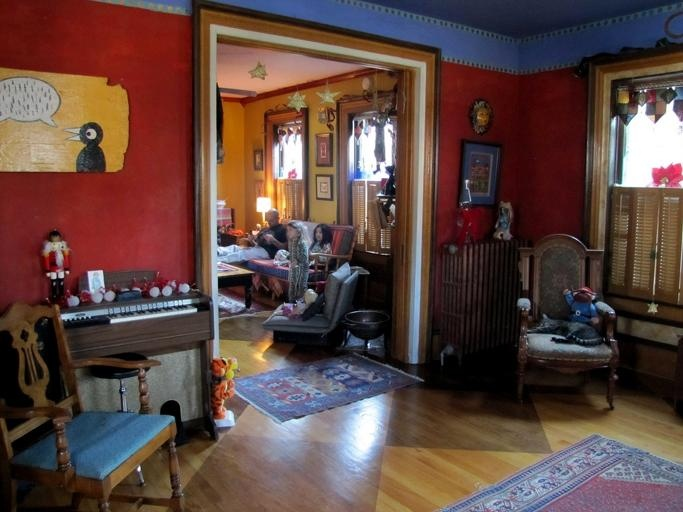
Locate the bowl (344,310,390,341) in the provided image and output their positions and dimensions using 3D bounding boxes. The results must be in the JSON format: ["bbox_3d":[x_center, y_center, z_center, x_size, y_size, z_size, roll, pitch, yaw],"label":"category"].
[{"bbox_3d":[0.265,0.782,5.854,0.511,0.244,0.487,0,13,0],"label":"bowl"}]

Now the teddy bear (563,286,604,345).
[{"bbox_3d":[2.208,0.560,4.831,0.308,0.492,0.304,24,-27,-27],"label":"teddy bear"}]

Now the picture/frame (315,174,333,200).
[{"bbox_3d":[-0.289,-1.147,8.674,0.046,0.435,0.440,-4,8,-40],"label":"picture/frame"}]

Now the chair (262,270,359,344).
[{"bbox_3d":[-0.308,0.619,6.063,0.628,0.885,0.932,11,2,2],"label":"chair"}]

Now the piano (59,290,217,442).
[{"bbox_3d":[-1.474,0.746,3.717,1.030,0.980,0.490,-8,22,-25],"label":"piano"}]

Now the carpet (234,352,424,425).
[{"bbox_3d":[-0.207,1.231,5.128,1.583,0.027,1.043,-8,15,-30],"label":"carpet"}]

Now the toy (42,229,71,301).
[{"bbox_3d":[-2.011,0.072,3.728,0.178,0.491,0.162,-8,15,-31],"label":"toy"}]

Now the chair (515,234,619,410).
[{"bbox_3d":[2.111,0.559,4.971,0.906,1.419,1.081,4,14,17],"label":"chair"}]

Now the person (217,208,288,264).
[{"bbox_3d":[-1.606,-0.297,8.816,1.483,0.831,0.653,-6,12,-19],"label":"person"}]

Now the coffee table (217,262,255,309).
[{"bbox_3d":[-1.580,0.471,7.543,0.496,0.577,0.584,-8,15,-29],"label":"coffee table"}]

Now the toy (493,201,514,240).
[{"bbox_3d":[1.761,-0.373,5.897,0.203,0.471,0.232,4,0,34],"label":"toy"}]

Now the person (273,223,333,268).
[{"bbox_3d":[-0.574,-0.141,8.072,0.747,0.910,0.652,0,0,-28],"label":"person"}]

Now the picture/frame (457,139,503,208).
[{"bbox_3d":[1.471,-0.916,5.736,0.780,0.850,0.089,-4,8,-39],"label":"picture/frame"}]
